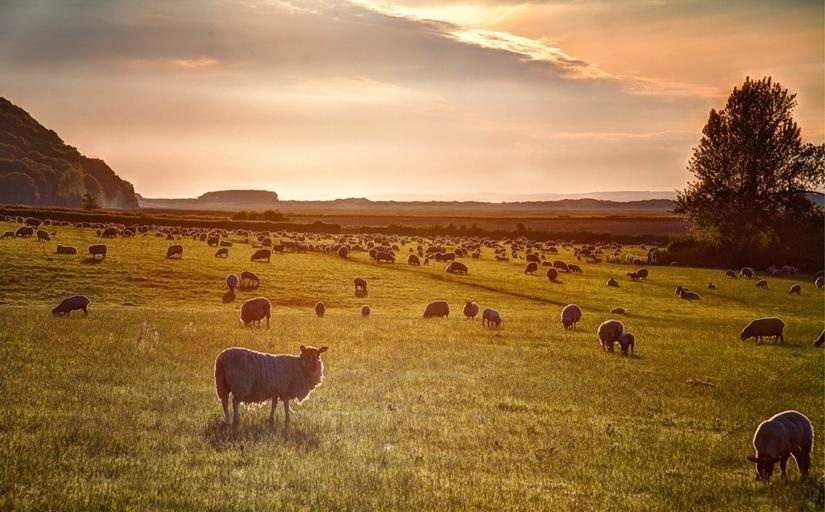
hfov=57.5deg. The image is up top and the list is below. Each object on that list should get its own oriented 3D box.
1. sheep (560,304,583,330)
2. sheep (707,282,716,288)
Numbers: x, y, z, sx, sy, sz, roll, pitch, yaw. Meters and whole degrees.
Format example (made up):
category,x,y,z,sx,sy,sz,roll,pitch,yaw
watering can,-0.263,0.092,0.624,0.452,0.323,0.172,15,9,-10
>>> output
category,x,y,z,sx,sy,sz,roll,pitch,yaw
sheep,14.158,5.364,67.248,1.354,1.849,3.021,6,9,25
sheep,36.590,3.620,92.107,0.615,0.762,2.102,-1,-1,10
